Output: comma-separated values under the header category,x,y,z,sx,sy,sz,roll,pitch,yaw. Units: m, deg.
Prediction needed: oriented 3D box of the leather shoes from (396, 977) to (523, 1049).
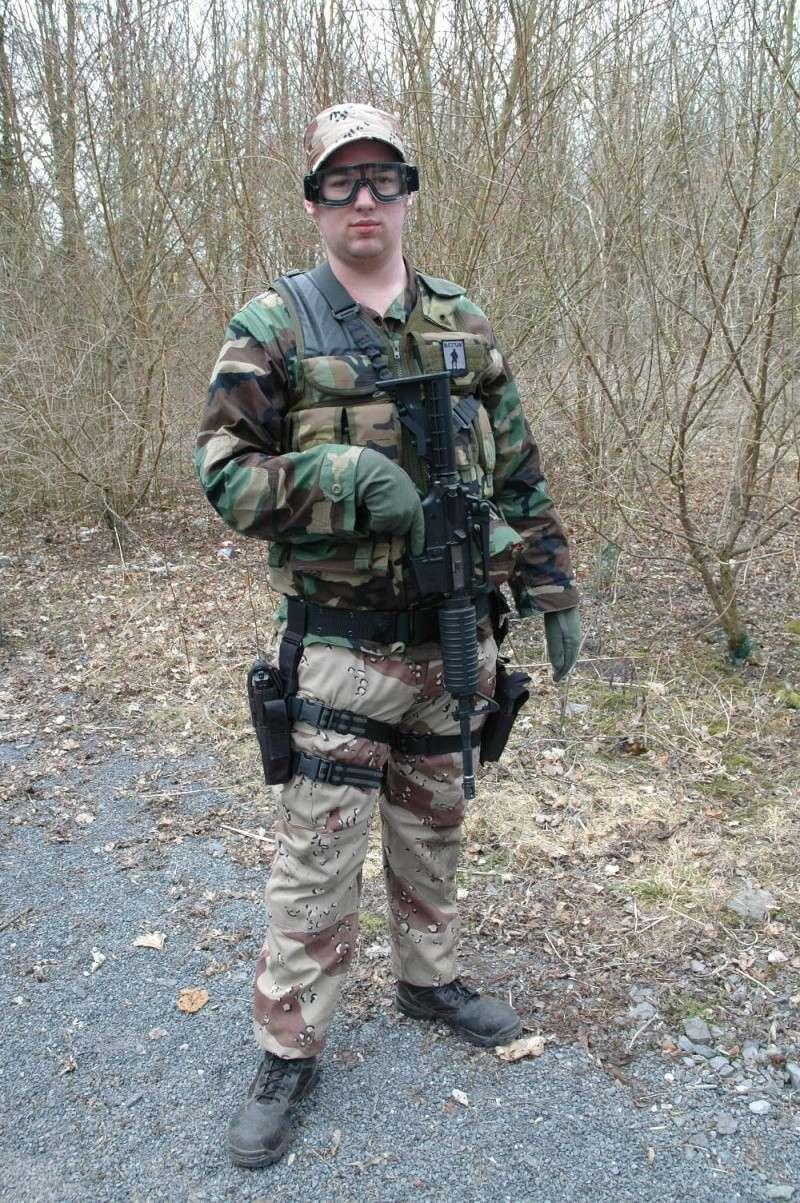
category,x,y,z,sx,sy,sz,roll,pitch,yaw
leather shoes,0.158,1.007,2.332,0.325,0.149,0.125,3,6,28

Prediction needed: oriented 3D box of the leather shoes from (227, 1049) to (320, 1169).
category,x,y,z,sx,sy,sz,roll,pitch,yaw
leather shoes,-0.261,1.046,1.997,0.110,0.137,0.321,14,17,14

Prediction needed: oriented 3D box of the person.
category,x,y,z,sx,sy,sz,roll,pitch,yaw
person,0.072,0.031,2.133,0.779,2.222,0.927,-3,6,-9

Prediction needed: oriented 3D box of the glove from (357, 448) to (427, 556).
category,x,y,z,sx,sy,sz,roll,pitch,yaw
glove,-0.017,-0.186,1.683,0.138,0.176,0.113,4,15,-5

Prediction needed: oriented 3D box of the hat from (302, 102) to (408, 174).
category,x,y,z,sx,sy,sz,roll,pitch,yaw
hat,-0.088,-0.958,1.947,0.280,0.157,0.241,-2,17,4

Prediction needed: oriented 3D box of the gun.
category,x,y,z,sx,sy,sz,roll,pitch,yaw
gun,0.092,-0.082,1.827,0.303,0.866,0.150,-3,9,-3
